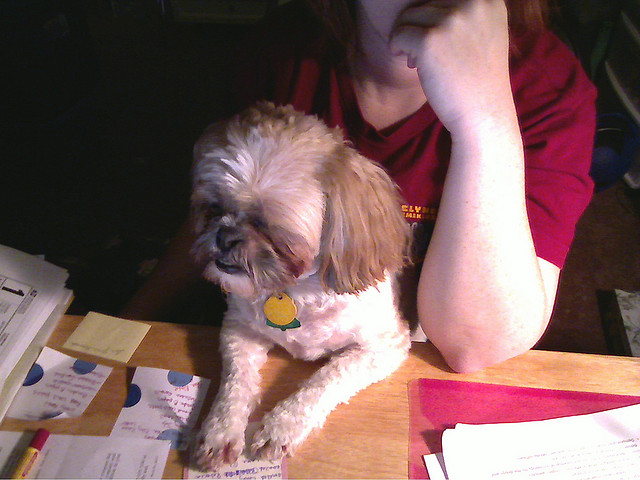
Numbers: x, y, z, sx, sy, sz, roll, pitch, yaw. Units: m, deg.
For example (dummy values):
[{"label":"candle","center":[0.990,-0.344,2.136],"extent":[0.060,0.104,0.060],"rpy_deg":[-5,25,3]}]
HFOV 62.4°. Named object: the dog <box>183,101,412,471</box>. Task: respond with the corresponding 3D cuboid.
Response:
[{"label":"dog","center":[-0.044,0.116,1.699],"extent":[0.762,0.864,0.805],"rpy_deg":[-4,39,-4]}]
